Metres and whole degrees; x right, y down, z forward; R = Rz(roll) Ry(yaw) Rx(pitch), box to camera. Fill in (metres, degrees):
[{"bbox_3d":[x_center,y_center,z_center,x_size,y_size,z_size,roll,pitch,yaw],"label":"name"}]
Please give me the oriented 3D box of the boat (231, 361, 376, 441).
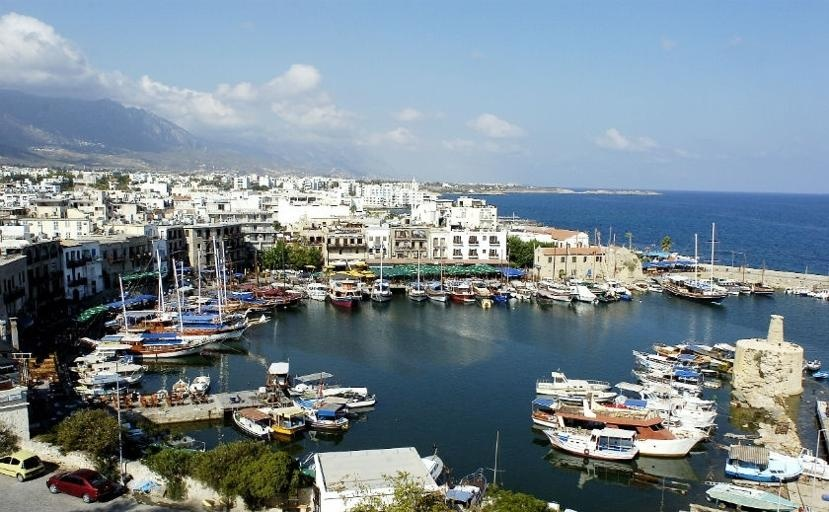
[{"bbox_3d":[-11.439,14.926,71.317,14.443,5.315,10.036,-1,5,-9],"label":"boat"}]
